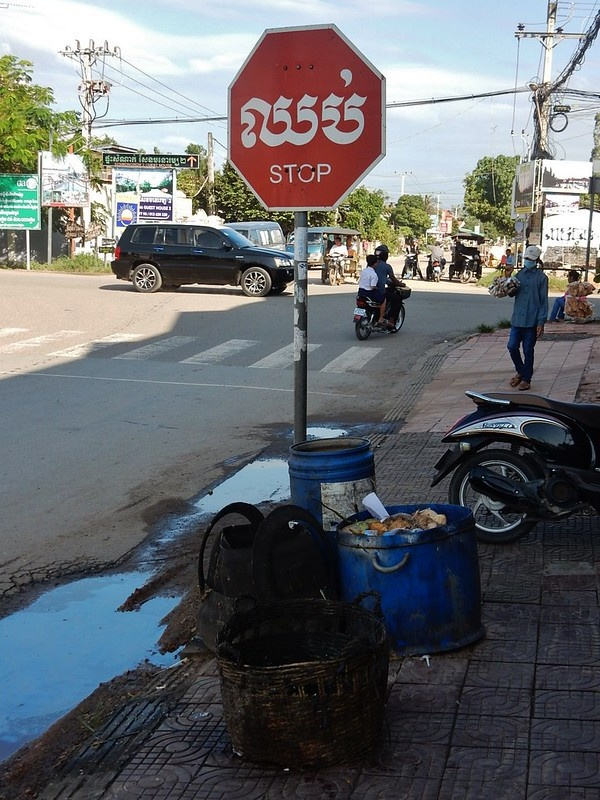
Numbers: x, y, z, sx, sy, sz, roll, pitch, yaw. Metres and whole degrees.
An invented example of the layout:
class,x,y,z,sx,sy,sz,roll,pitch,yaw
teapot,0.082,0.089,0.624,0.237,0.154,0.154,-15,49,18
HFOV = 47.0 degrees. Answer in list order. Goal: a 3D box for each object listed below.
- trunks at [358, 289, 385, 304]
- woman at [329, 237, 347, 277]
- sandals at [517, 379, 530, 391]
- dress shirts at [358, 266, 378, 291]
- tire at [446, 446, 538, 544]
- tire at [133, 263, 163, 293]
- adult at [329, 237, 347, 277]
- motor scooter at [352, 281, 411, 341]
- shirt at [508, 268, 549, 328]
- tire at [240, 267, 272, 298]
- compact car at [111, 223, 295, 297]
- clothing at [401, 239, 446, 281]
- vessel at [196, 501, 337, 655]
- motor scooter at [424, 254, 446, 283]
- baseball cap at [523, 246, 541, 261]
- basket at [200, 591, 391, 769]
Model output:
class,x,y,z,sx,sy,sz,roll,pitch,yaw
trunks,1.604,-2.309,15.358,0.572,0.343,0.197,-6,0,-22
woman,1.479,-5.537,27.093,0.591,1.552,2.754,-6,0,7
sandals,3.197,-0.211,9.866,0.136,0.142,0.360,1,6,19
dress shirts,1.518,-2.707,15.435,0.426,0.523,0.360,-6,1,6
tire,1.167,0.567,4.151,0.545,0.555,0.112,14,0,14
tire,-4.715,-3.819,21.366,0.669,0.639,0.236,28,19,12
adult,1.458,-5.537,26.605,0.891,1.002,1.687,0,7,8
motor scooter,1.946,-2.076,15.723,1.858,1.117,0.805,-13,16,-28
shirt,3.145,-1.406,9.457,0.507,0.796,0.448,-6,1,9
tire,-1.308,-3.578,20.738,0.888,0.830,0.312,-6,6,23
compact car,-3.146,-4.236,21.033,5.117,2.382,0.546,-6,1,7
clothing,6.140,-6.948,34.298,1.893,1.949,3.456,2,15,7
vessel,-0.152,0.807,3.119,0.609,0.688,0.737,-3,-2,23
motor scooter,6.520,-6.324,33.379,0.850,1.213,1.559,-6,1,10
baseball cap,3.195,-2.030,9.518,0.213,0.201,0.573,-6,0,18
basket,0.011,0.931,2.270,0.554,0.338,0.582,-6,-7,24
